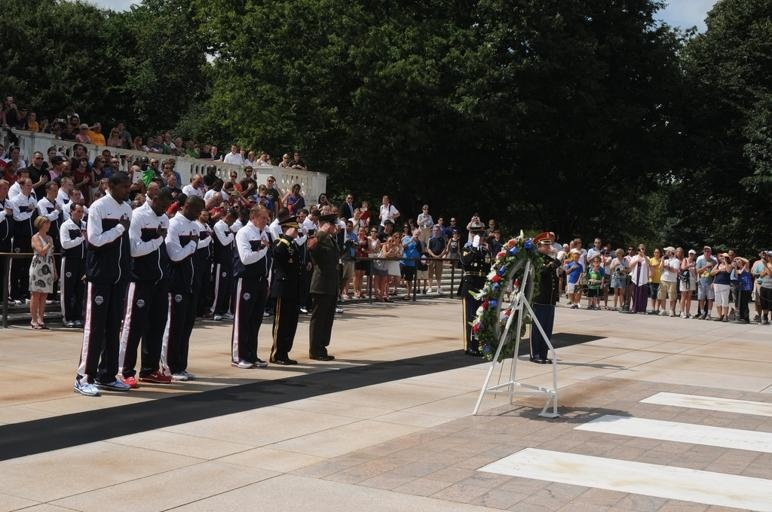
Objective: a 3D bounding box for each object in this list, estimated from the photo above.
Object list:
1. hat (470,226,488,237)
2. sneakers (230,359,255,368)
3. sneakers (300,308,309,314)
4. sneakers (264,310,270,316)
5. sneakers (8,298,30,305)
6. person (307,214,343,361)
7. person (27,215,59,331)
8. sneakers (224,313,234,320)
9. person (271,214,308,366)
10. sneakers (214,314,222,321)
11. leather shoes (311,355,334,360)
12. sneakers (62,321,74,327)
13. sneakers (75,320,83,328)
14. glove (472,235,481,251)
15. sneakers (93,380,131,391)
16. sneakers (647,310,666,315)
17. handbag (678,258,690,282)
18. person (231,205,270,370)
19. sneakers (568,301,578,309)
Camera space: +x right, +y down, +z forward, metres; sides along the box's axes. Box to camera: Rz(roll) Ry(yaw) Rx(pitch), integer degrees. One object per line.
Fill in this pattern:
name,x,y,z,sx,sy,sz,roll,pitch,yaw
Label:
hat,2.217,-0.585,24.321,0.453,0.193,0.541,-1,5,-9
sneakers,-3.030,2.347,21.370,0.445,0.135,0.236,1,11,-10
sneakers,-2.290,1.577,28.262,0.188,0.123,0.277,2,-11,5
sneakers,-3.205,1.600,27.216,0.209,0.102,0.284,0,-7,-11
sneakers,-8.980,1.159,24.656,0.448,0.156,0.127,-9,30,-20
person,-1.417,0.713,22.581,0.706,3.251,1.267,3,12,-3
person,-8.168,0.384,23.958,0.601,2.663,1.003,0,13,-18
sneakers,-4.047,1.614,26.370,0.501,0.187,0.173,-7,-8,43
person,-2.170,0.789,21.914,0.626,3.141,1.034,2,12,-9
sneakers,-4.380,1.630,26.158,0.151,0.168,0.416,0,-7,-11
leather shoes,-1.398,2.308,22.430,0.546,0.180,0.169,-1,-3,4
sneakers,-7.622,1.673,24.182,0.238,0.061,0.142,4,4,40
sneakers,-7.387,1.676,24.232,0.176,0.145,0.166,2,-3,-41
glove,2.151,-0.325,23.787,0.190,0.363,0.159,5,12,4
sneakers,-5.249,2.552,19.439,0.710,0.273,0.220,2,-2,-4
sneakers,9.049,1.945,33.584,0.623,0.229,0.203,9,-9,-33
handbag,9.709,0.513,32.689,0.286,0.747,0.393,2,12,-10
person,-2.871,0.671,21.465,0.722,3.415,1.108,3,12,-7
sneakers,6.428,1.724,34.502,0.222,0.212,0.553,0,-6,7
